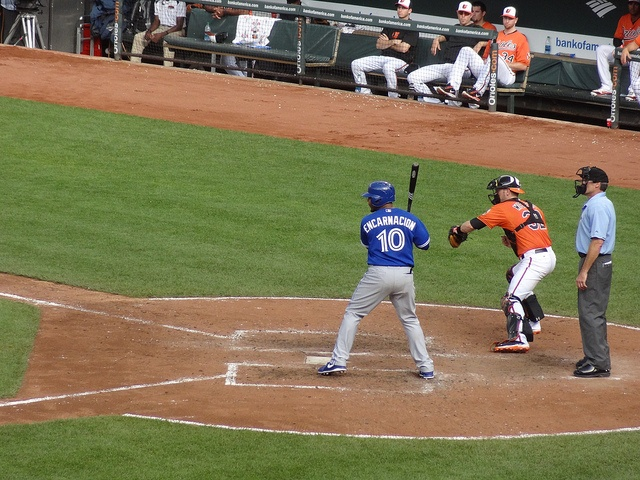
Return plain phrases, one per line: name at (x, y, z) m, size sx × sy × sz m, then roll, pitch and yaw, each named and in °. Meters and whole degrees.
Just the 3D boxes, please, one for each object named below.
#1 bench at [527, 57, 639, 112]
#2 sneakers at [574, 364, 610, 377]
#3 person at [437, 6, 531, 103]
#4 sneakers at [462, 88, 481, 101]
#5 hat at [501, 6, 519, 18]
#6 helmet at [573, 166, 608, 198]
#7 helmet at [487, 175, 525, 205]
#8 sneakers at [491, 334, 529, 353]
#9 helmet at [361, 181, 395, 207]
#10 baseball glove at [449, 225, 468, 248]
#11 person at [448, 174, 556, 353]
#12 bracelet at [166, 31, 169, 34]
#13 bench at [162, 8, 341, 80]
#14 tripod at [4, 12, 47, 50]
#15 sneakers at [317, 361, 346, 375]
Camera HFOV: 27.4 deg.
bench at (4.961, -3.087, 26.221) m, size 3.296 × 1.032 × 1.120 m, roll 11°, pitch 12°, yaw 40°
sneakers at (3.563, 1.750, 17.150) m, size 0.416 × 0.195 × 0.188 m, roll 5°, pitch 6°, yaw 4°
person at (3.208, -3.535, 24.865) m, size 1.597 × 1.860 × 0.688 m, roll 4°, pitch 9°, yaw -2°
sneakers at (2.890, -2.765, 25.040) m, size 0.404 × 0.193 × 0.160 m, roll 25°, pitch -3°, yaw 4°
hat at (3.609, -4.366, 24.921) m, size 0.247 × 0.200 × 0.377 m, roll 5°, pitch 0°, yaw 22°
helmet at (3.579, -0.741, 17.361) m, size 0.568 × 0.478 × 0.447 m, roll 3°, pitch 7°, yaw 11°
helmet at (2.488, -0.720, 17.992) m, size 0.520 × 0.407 × 0.415 m, roll 10°, pitch 10°, yaw 25°
sneakers at (2.593, 1.442, 17.689) m, size 0.566 × 0.272 × 0.215 m, roll 1°, pitch -4°, yaw 4°
helmet at (0.759, -0.604, 17.291) m, size 0.410 × 0.288 × 0.284 m, roll 9°, pitch 9°, yaw 12°
baseball glove at (1.875, -0.044, 17.993) m, size 0.181 × 0.175 × 0.390 m, roll 26°, pitch 13°, yaw -5°
person at (2.552, 0.329, 17.950) m, size 1.262 × 2.410 × 0.878 m, roll 6°, pitch 9°, yaw 10°
bracelet at (-3.160, -4.317, 27.038) m, size 0.046 × 0.063 × 0.016 m, roll -1°, pitch 3°, yaw 2°
bench at (-0.978, -4.066, 26.957) m, size 3.631 × 1.249 × 1.155 m, roll 6°, pitch 5°, yaw 15°
tripod at (-6.391, -4.588, 28.476) m, size 0.817 × 0.762 × 1.236 m, roll 3°, pitch 9°, yaw -13°
sneakers at (0.145, 1.704, 17.066) m, size 0.403 × 0.181 × 0.149 m, roll 3°, pitch 6°, yaw 28°
